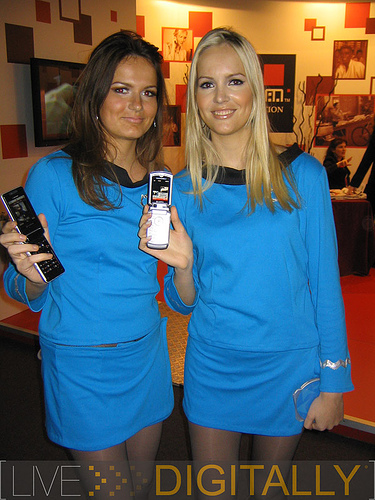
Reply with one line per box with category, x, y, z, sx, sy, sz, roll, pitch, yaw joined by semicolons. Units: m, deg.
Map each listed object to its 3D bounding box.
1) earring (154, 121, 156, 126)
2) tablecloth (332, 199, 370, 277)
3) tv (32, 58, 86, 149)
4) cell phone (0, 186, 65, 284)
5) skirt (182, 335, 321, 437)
earring;-0.115;-0.437;1.440;0.004;0.017;0.010;-17;30;-30
tablecloth;1.829;-0.110;4.658;0.444;0.857;0.214;-1;26;-2
tv;-0.980;-1.216;3.480;0.768;0.703;0.066;9;16;26
cell phone;-0.388;-0.016;1.045;0.098;0.271;0.153;-14;29;-26
skirt;0.196;0.405;1.303;0.405;0.273;0.226;0;-15;18
